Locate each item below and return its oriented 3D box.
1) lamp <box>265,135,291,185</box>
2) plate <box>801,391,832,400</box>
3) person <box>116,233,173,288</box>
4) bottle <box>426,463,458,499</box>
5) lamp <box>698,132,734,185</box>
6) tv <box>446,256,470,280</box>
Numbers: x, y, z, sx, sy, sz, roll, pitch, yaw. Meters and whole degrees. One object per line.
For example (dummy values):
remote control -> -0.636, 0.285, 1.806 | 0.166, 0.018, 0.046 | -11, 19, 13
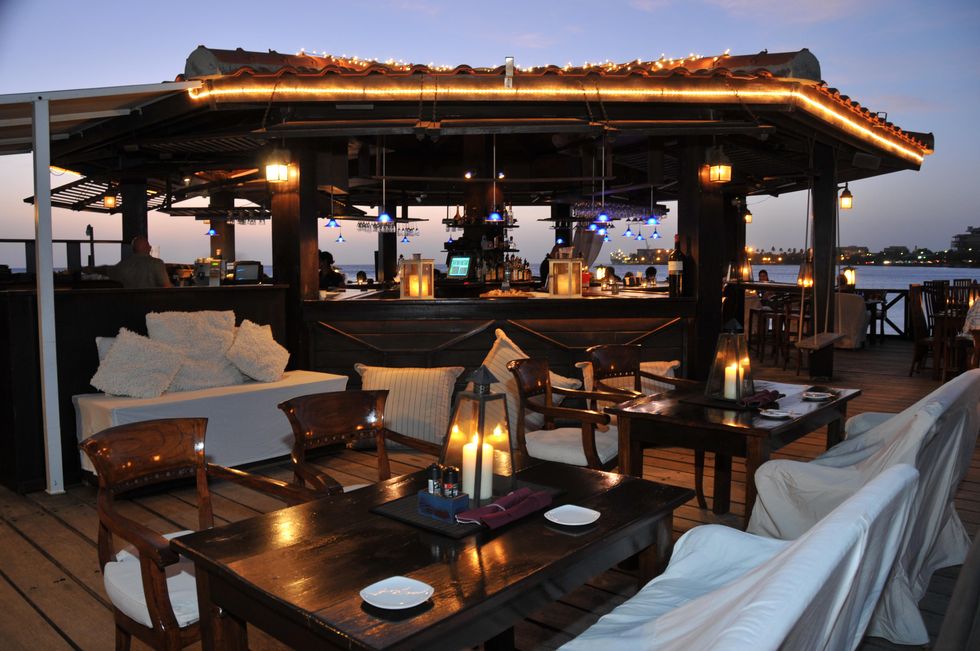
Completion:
lamp -> -2.142, -1.651, 7.736 | 0.236, 0.416, 0.496 | -3, 7, -13
plate -> 2.279, 0.503, 5.282 | 0.177, 0.029, 0.239 | 3, 8, 31
person -> -3.927, -0.609, 8.679 | 0.419, 0.726, 0.565 | -17, -13, 21
bottle -> -0.225, 0.758, 3.659 | 0.151, 0.135, 0.146 | 1, 1, -40
lamp -> 2.414, -1.751, 8.146 | 0.304, 0.502, 0.295 | 2, 8, 27
tv -> -0.470, -0.847, 11.529 | 0.369, 0.351, 0.187 | 5, 0, 11
